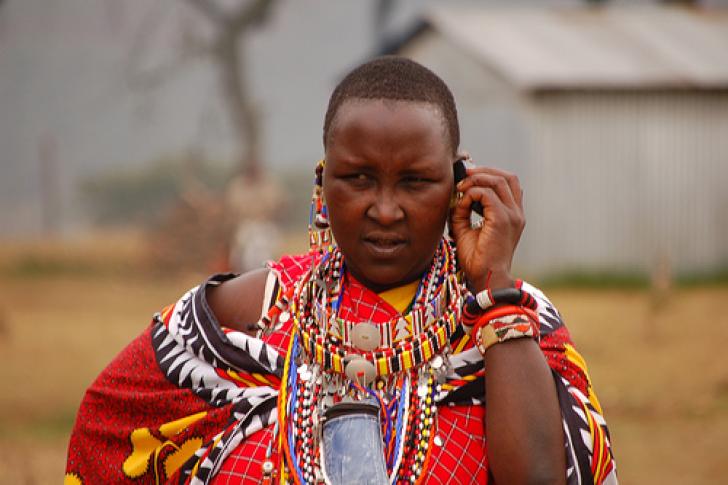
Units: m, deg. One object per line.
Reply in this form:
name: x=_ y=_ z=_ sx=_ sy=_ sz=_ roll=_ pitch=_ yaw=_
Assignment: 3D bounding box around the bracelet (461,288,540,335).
bracelet: x=1.073 y=0.478 z=9.847 sx=0.388 sy=0.155 sz=0.427 roll=-20 pitch=-44 yaw=16
